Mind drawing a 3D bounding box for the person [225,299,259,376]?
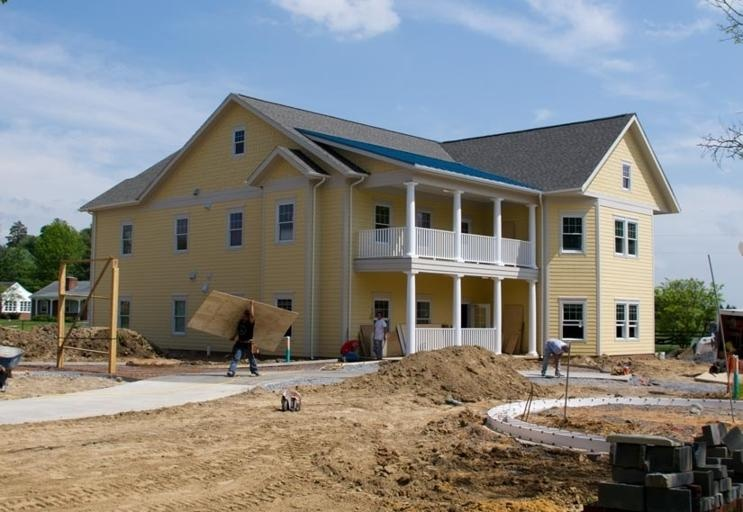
[{"bbox_3d":[-3.933,2.617,21.221,0.946,2.213,1.535,4,-11,-10],"label":"person"}]

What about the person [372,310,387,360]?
[{"bbox_3d":[0.333,3.093,26.574,0.528,1.818,0.965,2,-11,1],"label":"person"}]
